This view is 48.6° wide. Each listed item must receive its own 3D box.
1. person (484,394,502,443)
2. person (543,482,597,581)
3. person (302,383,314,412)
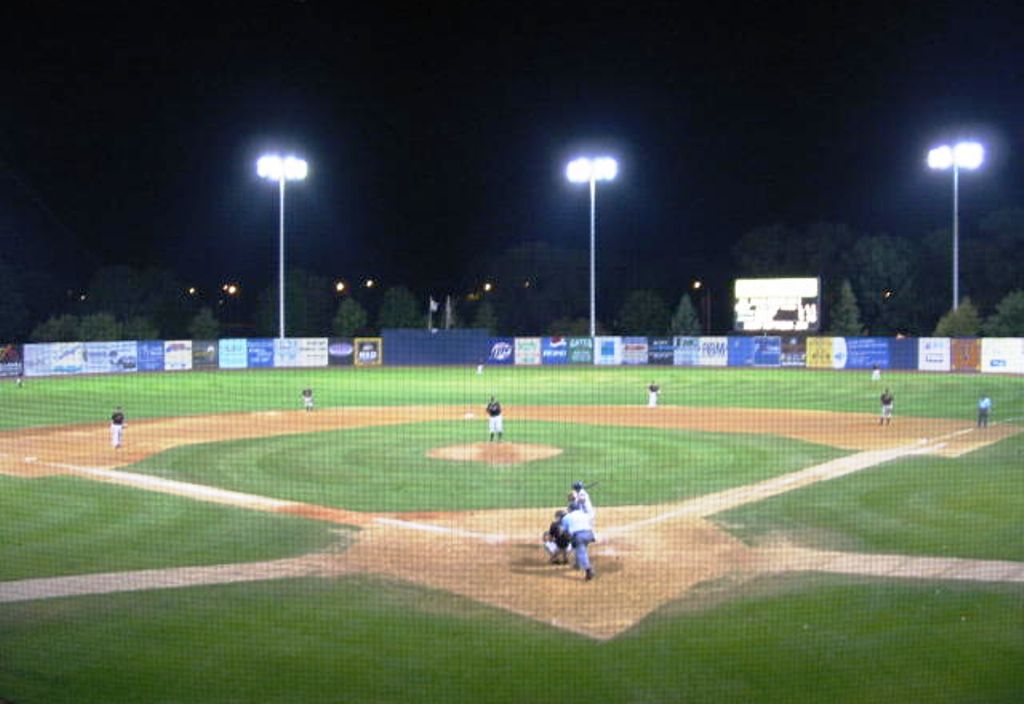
[{"bbox_3d":[-0.561,2.275,36.246,0.499,1.571,0.557,-1,28,-2],"label":"person"},{"bbox_3d":[1.377,4.240,26.244,0.899,0.970,2.402,3,48,2],"label":"person"},{"bbox_3d":[-8.185,1.887,45.346,0.548,1.285,0.602,-1,31,-14],"label":"person"}]
